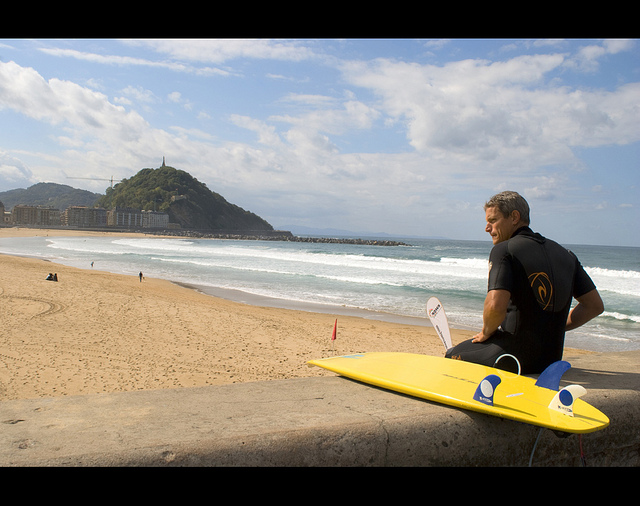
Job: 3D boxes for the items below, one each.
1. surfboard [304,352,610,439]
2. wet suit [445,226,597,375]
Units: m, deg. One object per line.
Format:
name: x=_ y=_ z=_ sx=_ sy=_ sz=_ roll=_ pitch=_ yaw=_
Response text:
surfboard: x=0.764 y=0.619 z=3.088 sx=1.721 sy=0.339 sz=0.649 roll=8 pitch=-2 yaw=38
wet suit: x=1.400 y=0.326 z=3.434 sx=1.013 sy=0.888 sz=0.735 roll=1 pitch=-7 yaw=-32
